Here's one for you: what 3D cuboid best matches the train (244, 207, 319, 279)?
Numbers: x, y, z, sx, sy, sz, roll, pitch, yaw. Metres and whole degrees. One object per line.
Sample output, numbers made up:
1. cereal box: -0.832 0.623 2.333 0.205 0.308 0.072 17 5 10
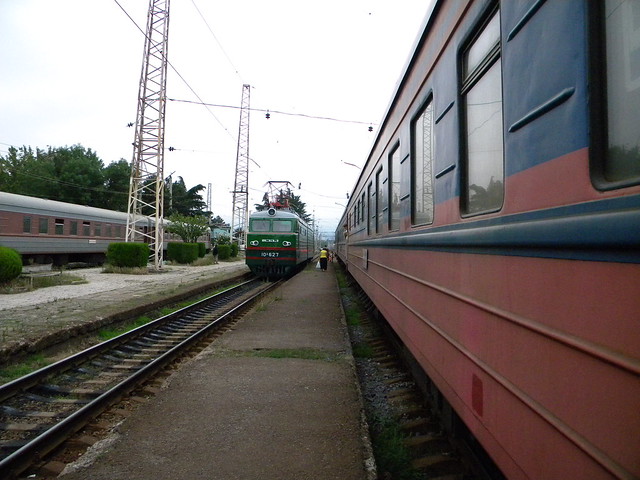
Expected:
1. train: -1.542 0.114 17.099 1.743 2.481 2.838 -3 -3 11
